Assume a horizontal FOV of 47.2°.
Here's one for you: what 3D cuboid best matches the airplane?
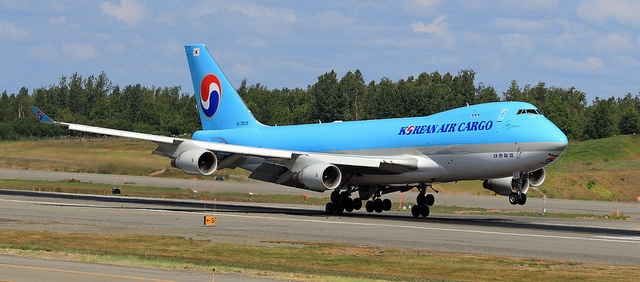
[{"bbox_3d":[-1.161,-1.963,97.328,64.097,23.693,13.608,1,-6,3],"label":"airplane"}]
